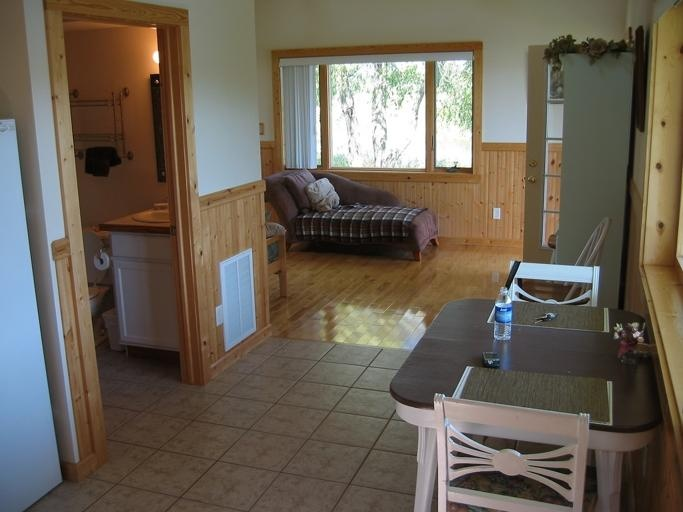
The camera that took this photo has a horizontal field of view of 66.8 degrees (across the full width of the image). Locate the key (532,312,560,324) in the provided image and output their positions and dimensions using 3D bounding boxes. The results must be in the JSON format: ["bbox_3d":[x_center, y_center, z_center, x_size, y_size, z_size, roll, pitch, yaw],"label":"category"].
[{"bbox_3d":[1.083,0.331,2.734,0.156,0.049,0.053,-16,23,-25],"label":"key"}]

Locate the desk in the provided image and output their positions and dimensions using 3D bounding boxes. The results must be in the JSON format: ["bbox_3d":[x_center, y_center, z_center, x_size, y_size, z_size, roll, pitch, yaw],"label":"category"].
[{"bbox_3d":[0.863,0.468,2.349,0.839,0.636,1.201,3,15,17],"label":"desk"}]

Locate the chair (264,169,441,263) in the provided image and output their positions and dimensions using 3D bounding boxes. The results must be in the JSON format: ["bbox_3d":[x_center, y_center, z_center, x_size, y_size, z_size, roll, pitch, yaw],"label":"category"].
[{"bbox_3d":[0.223,-0.592,7.207,2.082,1.108,1.259,6,21,16],"label":"chair"}]

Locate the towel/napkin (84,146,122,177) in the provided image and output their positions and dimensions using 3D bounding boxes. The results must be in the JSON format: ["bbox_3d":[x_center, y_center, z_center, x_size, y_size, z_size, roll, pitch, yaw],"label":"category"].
[{"bbox_3d":[-2.760,-1.108,6.006,0.332,0.295,0.079,0,8,3],"label":"towel/napkin"}]
